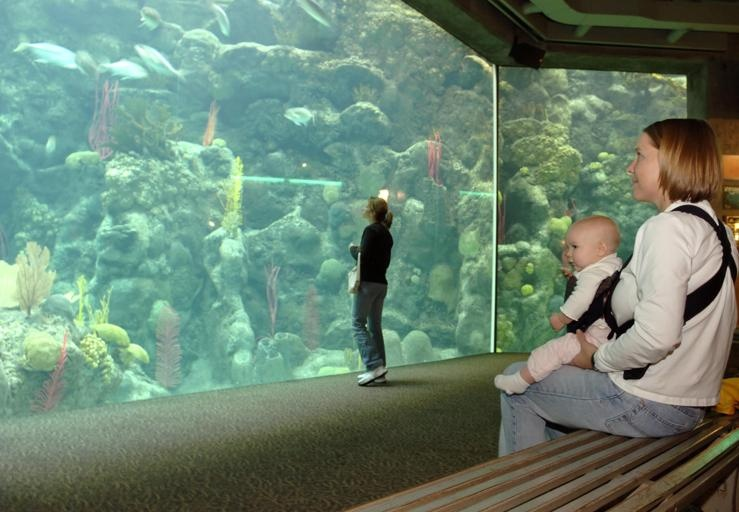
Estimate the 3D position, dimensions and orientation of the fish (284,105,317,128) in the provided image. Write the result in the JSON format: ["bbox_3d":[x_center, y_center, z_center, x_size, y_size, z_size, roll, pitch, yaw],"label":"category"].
[{"bbox_3d":[-2.172,-4.270,17.753,0.780,0.655,0.145,3,-2,-31],"label":"fish"}]

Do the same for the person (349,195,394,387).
[{"bbox_3d":[0.028,0.454,7.443,0.539,2.336,0.763,-2,12,1],"label":"person"}]

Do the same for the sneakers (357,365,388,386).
[{"bbox_3d":[0.106,1.517,7.403,0.492,0.190,0.170,-7,-2,-36],"label":"sneakers"}]

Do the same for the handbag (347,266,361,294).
[{"bbox_3d":[-0.202,0.298,7.319,0.133,0.366,0.304,-3,12,-8],"label":"handbag"}]

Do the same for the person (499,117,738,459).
[{"bbox_3d":[2.069,0.251,4.546,1.514,2.577,0.629,1,12,12],"label":"person"}]

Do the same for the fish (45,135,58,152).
[{"bbox_3d":[-8.080,-2.814,14.669,0.278,0.465,0.514,-7,13,-27],"label":"fish"}]
